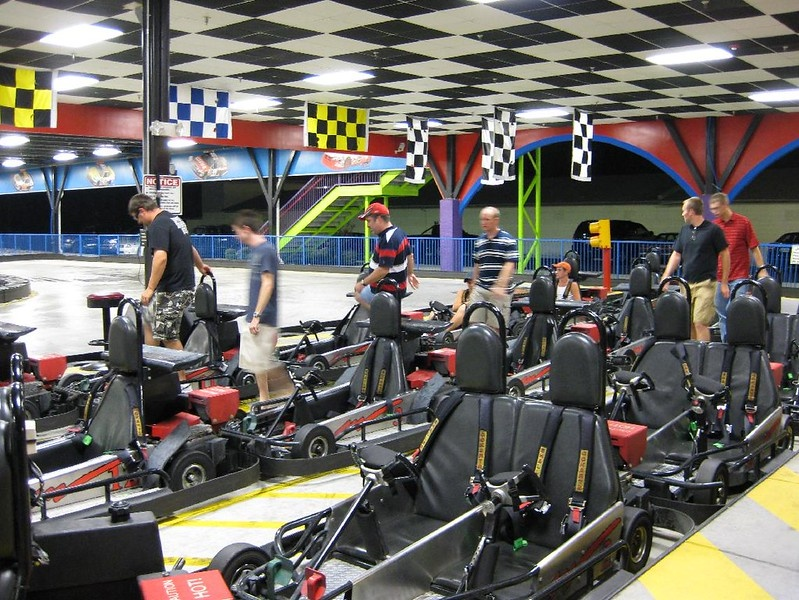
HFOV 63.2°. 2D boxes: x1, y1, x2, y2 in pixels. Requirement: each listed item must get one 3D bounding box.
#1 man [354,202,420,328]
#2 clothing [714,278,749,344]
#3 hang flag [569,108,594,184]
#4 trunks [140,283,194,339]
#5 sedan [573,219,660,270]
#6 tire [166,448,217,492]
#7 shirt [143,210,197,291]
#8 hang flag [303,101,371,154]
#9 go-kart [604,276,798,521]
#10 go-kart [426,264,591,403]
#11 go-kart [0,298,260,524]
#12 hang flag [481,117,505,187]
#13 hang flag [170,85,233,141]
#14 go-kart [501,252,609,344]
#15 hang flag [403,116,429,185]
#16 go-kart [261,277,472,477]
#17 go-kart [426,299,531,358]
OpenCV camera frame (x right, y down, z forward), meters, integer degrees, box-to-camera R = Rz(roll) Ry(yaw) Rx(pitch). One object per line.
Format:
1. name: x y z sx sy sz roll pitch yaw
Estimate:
1. man: -0.142 -0.245 5.514 0.547 1.108 0.721 17 22 41
2. clothing: 2.709 0.038 5.414 0.163 0.609 0.194 -7 4 -43
3. hang flag: 3.092 -2.651 11.087 0.551 1.174 0.106 -1 3 -36
4. trunks: -1.838 0.086 5.339 0.313 0.436 0.356 10 19 14
5. sedan: 5.228 -1.440 17.178 3.167 1.445 1.760 -1 4 13
6. tire: -1.080 0.882 3.343 0.079 0.209 0.228 -12 -26 38
7. shirt: -1.852 -0.392 5.227 0.301 0.644 0.494 4 7 22
8. hang flag: -1.101 -2.982 11.175 1.281 0.743 0.016 14 23 25
9. go-kart: 1.550 0.483 3.623 0.935 0.724 1.343 5 10 45
10. go-kart: 0.840 0.333 5.131 0.717 0.822 1.480 3 14 40
11. go-kart: -1.290 0.499 3.692 1.011 0.924 1.505 -1 -1 40
12. hang flag: 1.637 -2.718 11.541 0.377 1.197 0.814 2 7 8
13. hang flag: -2.917 -2.760 9.445 1.033 0.701 0.086 10 19 13
14. go-kart: 1.845 -0.117 7.058 1.698 0.890 0.857 1 -2 -41
15. hang flag: 0.318 -2.938 12.603 0.408 1.290 0.920 1 7 -1
16. go-kart: -0.213 0.574 4.280 1.533 0.767 0.821 -7 8 -43
17. go-kart: 0.619 0.237 5.539 0.871 0.284 0.462 -1 0 -35
